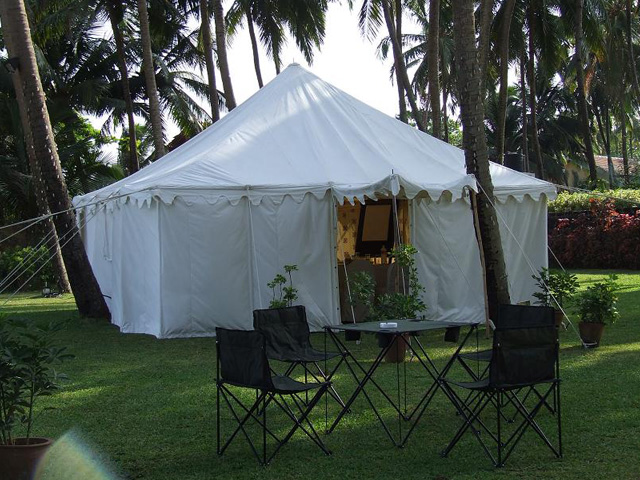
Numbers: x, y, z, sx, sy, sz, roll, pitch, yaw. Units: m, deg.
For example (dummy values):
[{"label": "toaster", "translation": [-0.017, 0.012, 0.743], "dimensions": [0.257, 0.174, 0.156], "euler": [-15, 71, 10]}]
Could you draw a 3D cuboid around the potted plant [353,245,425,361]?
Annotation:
[{"label": "potted plant", "translation": [1.260, 0.869, 9.815], "dimensions": [0.924, 1.565, 1.002], "euler": [-4, -10, -5]}]

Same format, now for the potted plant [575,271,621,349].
[{"label": "potted plant", "translation": [4.105, 1.116, 9.146], "dimensions": [0.478, 0.907, 0.482], "euler": [10, -4, 24]}]
